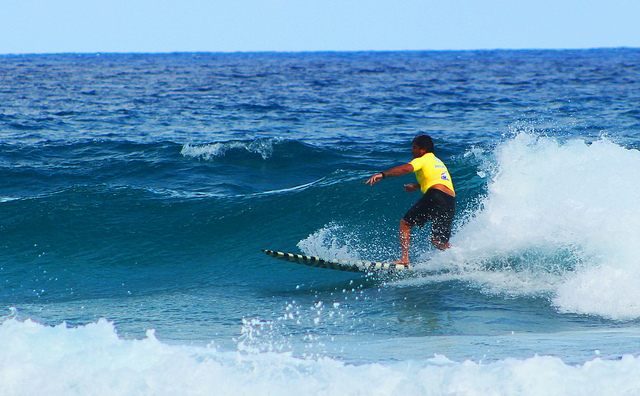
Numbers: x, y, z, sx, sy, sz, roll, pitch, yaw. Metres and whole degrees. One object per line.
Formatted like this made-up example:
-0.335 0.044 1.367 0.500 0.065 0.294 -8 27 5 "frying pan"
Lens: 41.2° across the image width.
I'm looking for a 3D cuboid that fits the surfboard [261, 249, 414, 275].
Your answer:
0.570 1.862 24.271 4.189 0.231 0.353 7 9 5 "surfboard"
